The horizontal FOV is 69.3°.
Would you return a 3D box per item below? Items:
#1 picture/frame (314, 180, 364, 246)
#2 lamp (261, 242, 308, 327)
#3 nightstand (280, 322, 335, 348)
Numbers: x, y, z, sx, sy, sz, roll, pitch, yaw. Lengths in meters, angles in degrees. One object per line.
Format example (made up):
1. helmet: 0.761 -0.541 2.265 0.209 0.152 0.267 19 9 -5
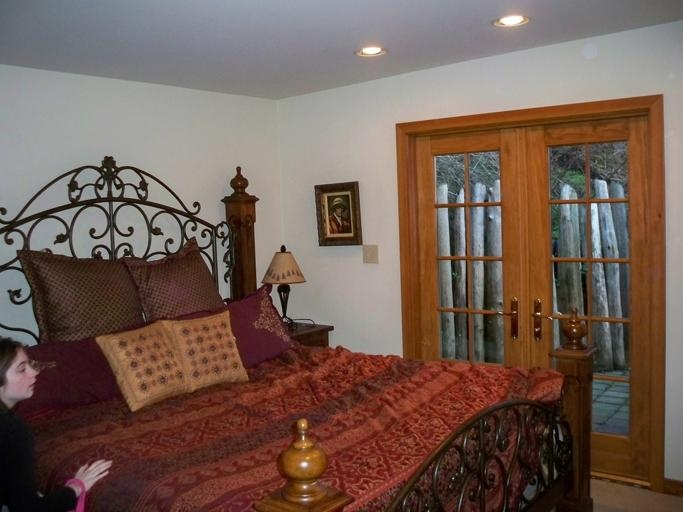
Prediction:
1. picture/frame: -0.002 -0.393 4.443 0.560 0.715 0.075 1 7 35
2. lamp: -0.502 0.263 4.333 0.372 0.697 0.373 5 8 44
3. nightstand: -0.340 0.671 4.289 0.275 0.276 0.285 2 4 34
